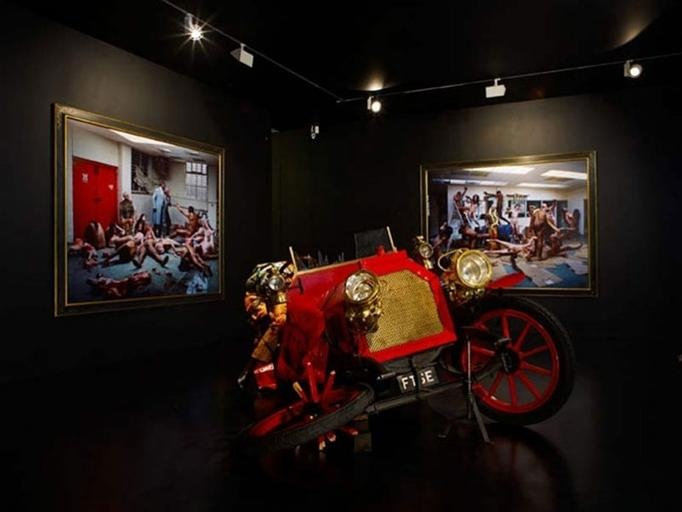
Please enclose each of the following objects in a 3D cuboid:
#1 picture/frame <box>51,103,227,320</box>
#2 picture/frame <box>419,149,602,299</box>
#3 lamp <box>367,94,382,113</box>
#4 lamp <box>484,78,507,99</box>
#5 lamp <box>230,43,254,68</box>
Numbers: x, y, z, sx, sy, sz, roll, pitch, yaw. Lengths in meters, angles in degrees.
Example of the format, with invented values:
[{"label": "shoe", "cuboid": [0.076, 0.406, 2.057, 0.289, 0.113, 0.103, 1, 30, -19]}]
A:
[{"label": "picture/frame", "cuboid": [-2.549, -0.540, 5.773, 0.127, 3.022, 2.768, -1, 0, 34]}, {"label": "picture/frame", "cuboid": [2.487, -0.470, 6.395, 1.952, 1.817, 0.106, 0, 1, 25]}, {"label": "lamp", "cuboid": [0.472, -2.205, 6.832, 0.185, 0.191, 0.048, -11, 15, -36]}, {"label": "lamp", "cuboid": [2.092, -2.220, 6.326, 0.216, 0.167, 0.273, -4, 44, 22]}, {"label": "lamp", "cuboid": [-1.118, -2.366, 5.579, 0.198, 0.200, 0.396, 3, 8, 31]}]
